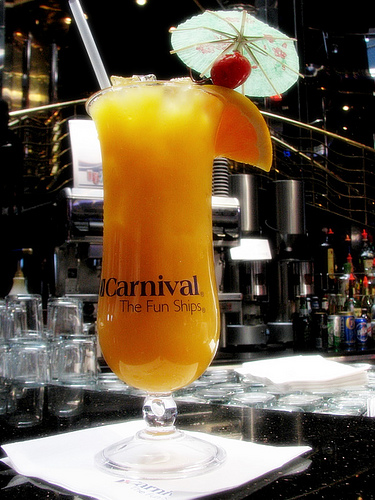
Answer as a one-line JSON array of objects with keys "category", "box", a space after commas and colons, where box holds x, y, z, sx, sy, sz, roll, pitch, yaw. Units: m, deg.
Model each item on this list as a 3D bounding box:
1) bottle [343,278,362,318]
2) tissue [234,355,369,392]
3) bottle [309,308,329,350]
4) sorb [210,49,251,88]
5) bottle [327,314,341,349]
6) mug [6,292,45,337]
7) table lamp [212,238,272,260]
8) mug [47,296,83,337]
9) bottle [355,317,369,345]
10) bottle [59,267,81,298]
[{"category": "bottle", "box": [1.278, 0.412, 3.856, 0.136, 0.382, 0.126, -1, 2, 0]}, {"category": "tissue", "box": [0.267, 0.302, 1.233, 0.242, 0.064, 0.256, 3, -8, -16]}, {"category": "bottle", "box": [0.862, 0.535, 3.279, 0.109, 0.234, 0.109, 1, -9, 0]}, {"category": "sorb", "box": [0.062, -0.273, 0.769, 0.071, 0.049, 0.050, -13, 30, -20]}, {"category": "bottle", "box": [0.942, 0.529, 3.207, 0.087, 0.209, 0.286, -2, -9, 16]}, {"category": "mug", "box": [-0.435, 0.193, 1.338, 0.101, 0.136, 0.092, -4, -13, 0]}, {"category": "table lamp", "box": [0.415, 0.017, 3.670, 0.326, 0.126, 0.206, -2, -2, 15]}, {"category": "mug", "box": [-0.343, 0.183, 1.366, 0.102, 0.098, 0.076, -1, -9, 10]}, {"category": "bottle", "box": [1.158, 0.542, 3.338, 0.070, 0.181, 0.128, -2, -10, 16]}, {"category": "bottle", "box": [-0.785, 0.207, 3.244, 0.188, 0.182, 0.095, -6, -12, 37]}]
